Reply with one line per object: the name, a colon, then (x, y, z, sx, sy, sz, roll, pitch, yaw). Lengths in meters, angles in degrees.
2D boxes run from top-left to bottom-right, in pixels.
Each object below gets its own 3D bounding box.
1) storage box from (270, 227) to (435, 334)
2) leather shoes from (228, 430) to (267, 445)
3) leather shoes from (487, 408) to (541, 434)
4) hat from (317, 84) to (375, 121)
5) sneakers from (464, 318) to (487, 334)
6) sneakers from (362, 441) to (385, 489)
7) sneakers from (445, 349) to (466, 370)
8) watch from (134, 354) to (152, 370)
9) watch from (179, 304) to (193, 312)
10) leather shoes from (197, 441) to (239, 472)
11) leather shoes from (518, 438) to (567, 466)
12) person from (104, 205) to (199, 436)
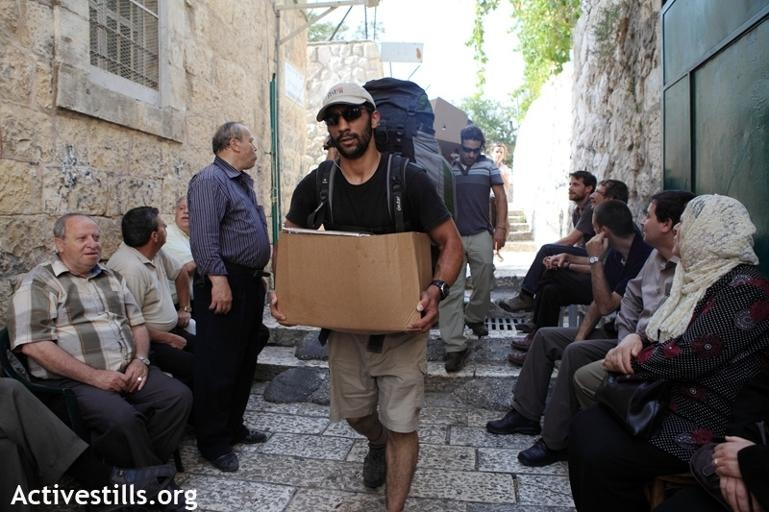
storage box: (-0.245, 0.077, 3.280, 0.856, 0.587, 0.473, 4, 16, 24)
leather shoes: (-1.053, 1.393, 4.309, 0.274, 0.109, 0.099, 0, -3, -7)
leather shoes: (1.023, 1.323, 4.402, 0.393, 0.200, 0.185, 3, 0, 5)
hat: (-0.223, -0.919, 3.260, 0.320, 0.219, 0.221, 0, 12, -2)
sneakers: (0.928, 0.718, 5.732, 0.252, 0.123, 0.102, 9, 14, 35)
sneakers: (-0.058, 1.435, 3.760, 0.132, 0.190, 0.320, 1, 2, 6)
sneakers: (0.672, 0.952, 5.197, 0.102, 0.146, 0.305, -14, 7, 34)
watch: (-1.734, 0.743, 4.014, 0.100, 0.103, 0.063, 19, 10, -10)
watch: (-1.747, 0.458, 4.943, 0.067, 0.037, 0.060, 2, 10, 7)
leather shoes: (-1.179, 1.446, 4.011, 0.404, 0.162, 0.137, -4, -3, 34)
leather shoes: (1.125, 1.430, 4.064, 0.388, 0.178, 0.152, 1, -1, -8)
person: (-1.854, 0.545, 4.721, 1.011, 1.919, 0.832, 4, 15, -14)
